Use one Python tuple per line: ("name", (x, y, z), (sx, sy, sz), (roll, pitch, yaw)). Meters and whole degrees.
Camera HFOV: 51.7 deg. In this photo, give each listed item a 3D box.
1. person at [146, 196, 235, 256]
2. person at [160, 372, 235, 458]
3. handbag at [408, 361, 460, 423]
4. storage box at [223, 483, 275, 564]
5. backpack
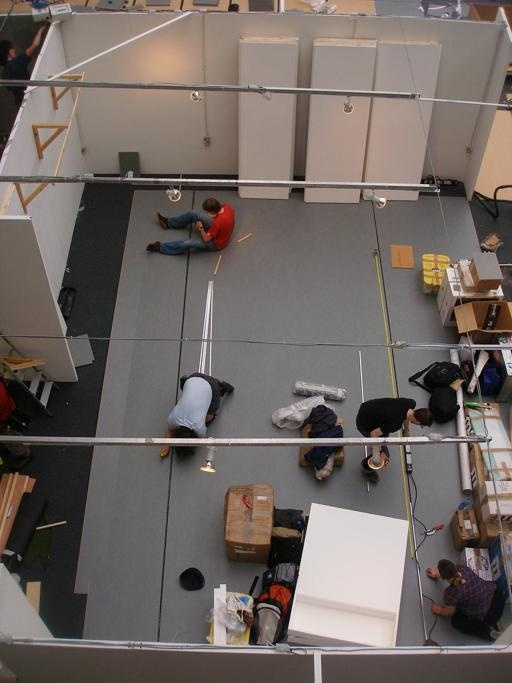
("person", (-0.755, -1.456, 6.116), (0.979, 0.684, 0.645), (3, 42, 2))
("person", (-0.551, 0.598, 4.498), (0.406, 0.645, 0.964), (13, 44, 13))
("handbag", (1.701, 0.440, 4.839), (0.413, 0.221, 0.659), (8, 78, 15))
("storage box", (-0.045, 1.291, 4.020), (0.412, 0.581, 0.630), (4, 80, 2))
("backpack", (0.109, 1.788, 3.578), (0.252, 0.296, 0.605), (10, 44, 10))
